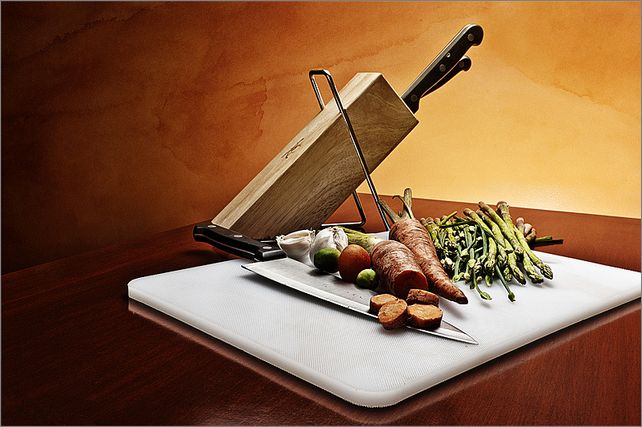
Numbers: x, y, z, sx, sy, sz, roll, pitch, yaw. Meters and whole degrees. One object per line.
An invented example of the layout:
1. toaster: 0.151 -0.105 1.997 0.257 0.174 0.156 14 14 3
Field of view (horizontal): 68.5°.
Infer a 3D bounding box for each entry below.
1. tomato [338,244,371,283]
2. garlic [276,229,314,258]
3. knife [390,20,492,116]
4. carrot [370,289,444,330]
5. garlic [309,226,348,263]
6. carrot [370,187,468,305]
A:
1. tomato: 0.062 0.100 0.941 0.065 0.084 0.067 -2 -4 -8
2. garlic: -0.061 0.059 1.116 0.073 0.041 0.061 17 44 40
3. knife: 0.326 -0.389 1.270 0.305 0.105 0.052 -37 27 -15
4. carrot: 0.143 0.142 0.798 0.075 0.021 0.078 1 15 1
5. garlic: 0.024 0.072 1.075 0.084 0.053 0.066 -7 15 15
6. carrot: 0.209 0.053 0.965 0.173 0.165 0.414 4 9 23
